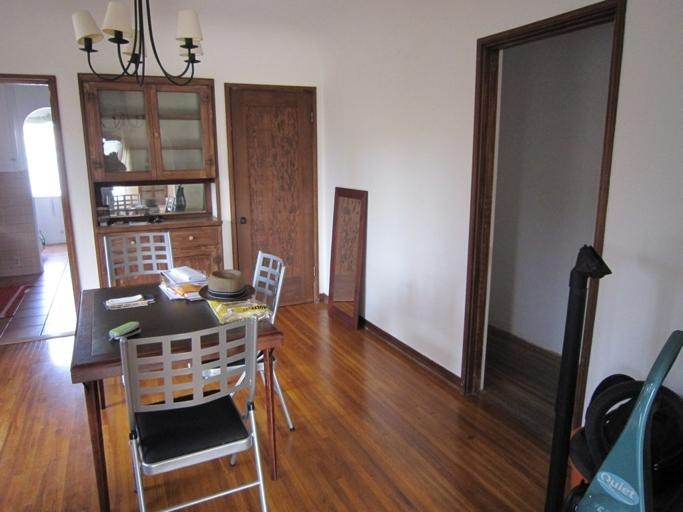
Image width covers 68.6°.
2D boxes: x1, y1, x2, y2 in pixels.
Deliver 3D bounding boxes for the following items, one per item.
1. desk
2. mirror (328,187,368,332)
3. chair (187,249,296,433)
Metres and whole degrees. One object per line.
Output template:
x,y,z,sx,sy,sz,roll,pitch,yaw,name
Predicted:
-1.051,1.042,3.275,1.061,0.873,1.516,-5,15,-24,desk
0.054,-0.002,5.196,0.189,1.388,0.591,-8,13,-28,mirror
-0.784,0.433,3.909,1.000,1.547,0.798,-2,6,-27,chair
